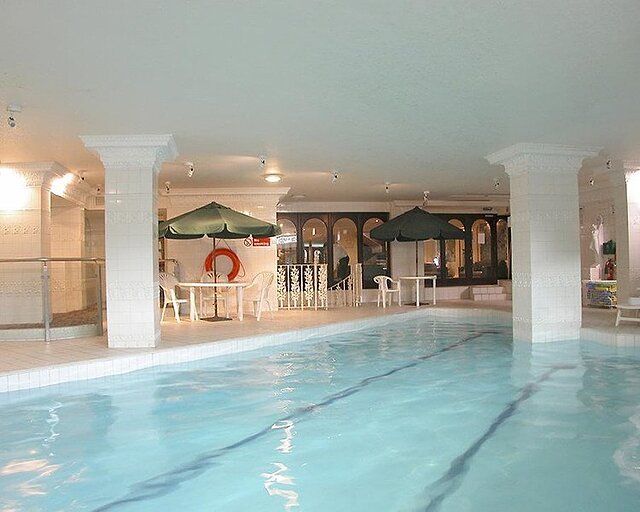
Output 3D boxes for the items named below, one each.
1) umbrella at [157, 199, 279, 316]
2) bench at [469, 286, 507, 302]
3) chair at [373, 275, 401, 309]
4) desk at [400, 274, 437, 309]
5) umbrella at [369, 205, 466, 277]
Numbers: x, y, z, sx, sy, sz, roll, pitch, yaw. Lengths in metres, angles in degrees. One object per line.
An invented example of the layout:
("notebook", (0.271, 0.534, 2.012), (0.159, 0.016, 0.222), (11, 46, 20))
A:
("umbrella", (-2.298, -0.161, 10.466), (2.712, 2.055, 2.640), (5, 7, 35))
("bench", (5.225, 1.147, 14.395), (1.084, 0.365, 0.569), (0, 4, 3))
("chair", (2.010, 1.001, 13.914), (0.945, 1.125, 0.890), (-1, 2, -13))
("desk", (3.000, 0.954, 13.986), (0.941, 0.929, 3.179), (0, 4, 14))
("umbrella", (2.695, -0.379, 13.033), (2.634, 1.676, 2.374), (1, 2, 21))
